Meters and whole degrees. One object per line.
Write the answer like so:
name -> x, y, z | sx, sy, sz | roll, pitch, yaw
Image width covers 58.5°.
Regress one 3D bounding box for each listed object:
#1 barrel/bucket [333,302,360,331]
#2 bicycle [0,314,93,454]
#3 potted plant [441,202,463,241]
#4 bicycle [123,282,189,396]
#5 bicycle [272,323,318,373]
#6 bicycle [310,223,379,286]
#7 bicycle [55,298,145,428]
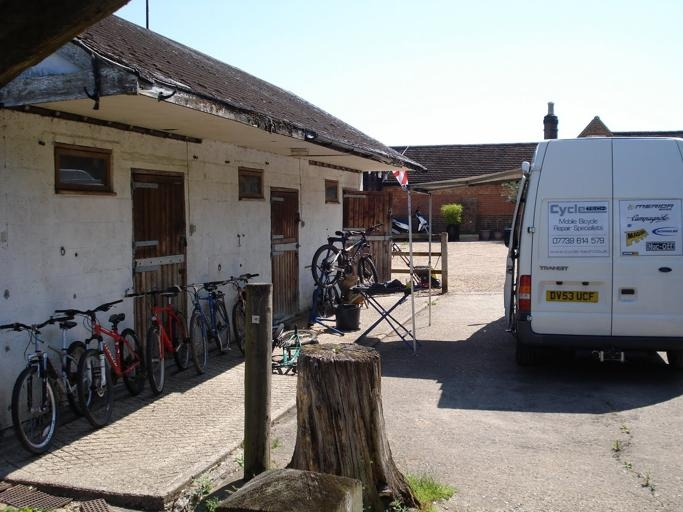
barrel/bucket -> 0.132, 1.154, 11.426 | 0.457, 0.477, 0.415 | 0, 2, 0
bicycle -> -3.087, 1.262, 6.350 | 0.714, 1.267, 1.268 | 1, 2, 10
potted plant -> 6.665, -2.070, 36.625 | 1.179, 2.315, 2.439 | 1, 2, 10
bicycle -> -2.356, 1.059, 8.241 | 0.695, 1.258, 1.963 | -5, 3, -1
bicycle -> -0.813, 1.418, 9.618 | 0.527, 0.465, 1.216 | 4, 2, -1
bicycle -> 0.280, 0.037, 14.135 | 1.037, 1.435, 2.365 | -1, -7, 42
bicycle -> -2.708, 1.169, 7.191 | 0.705, 1.275, 2.037 | -9, 3, -1
